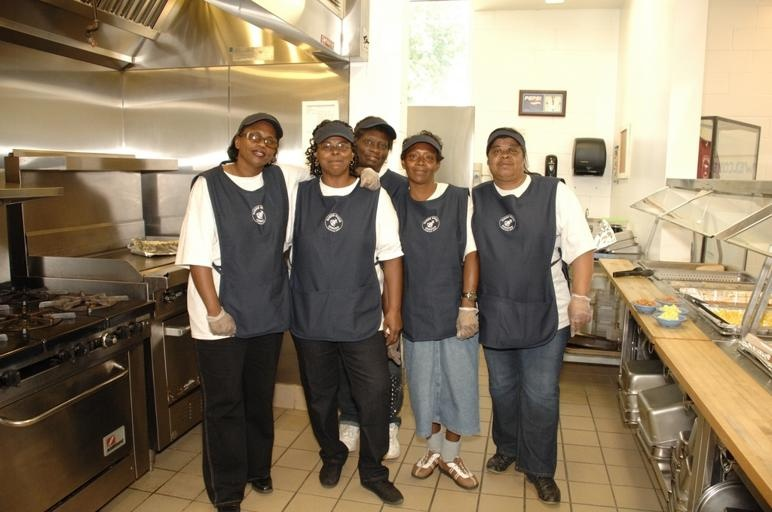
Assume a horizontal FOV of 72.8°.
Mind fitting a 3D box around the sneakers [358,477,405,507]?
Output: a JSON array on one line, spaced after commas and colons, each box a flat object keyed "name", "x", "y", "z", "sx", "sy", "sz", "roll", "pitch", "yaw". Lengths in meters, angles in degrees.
[{"name": "sneakers", "x": -0.028, "y": 1.366, "z": 3.109, "sx": 0.279, "sy": 0.106, "sz": 0.102, "roll": 8, "pitch": 11, "yaw": 35}]

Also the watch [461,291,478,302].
[{"name": "watch", "x": 0.457, "y": 0.223, "z": 2.966, "sx": 0.061, "sy": 0.057, "sz": 0.057, "roll": -2, "pitch": 22, "yaw": 13}]

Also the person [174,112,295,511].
[{"name": "person", "x": -0.795, "y": 0.331, "z": 2.937, "sx": 0.642, "sy": 2.191, "sz": 0.422, "roll": -10, "pitch": 18, "yaw": -34}]

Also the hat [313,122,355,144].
[{"name": "hat", "x": -0.289, "y": -0.678, "z": 2.852, "sx": 0.218, "sy": 0.121, "sz": 0.138, "roll": -2, "pitch": 15, "yaw": -7}]

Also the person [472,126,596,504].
[{"name": "person", "x": 0.796, "y": 0.349, "z": 3.018, "sx": 0.708, "sy": 2.114, "sz": 0.418, "roll": 6, "pitch": 16, "yaw": 20}]

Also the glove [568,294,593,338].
[{"name": "glove", "x": 1.083, "y": 0.324, "z": 2.928, "sx": 0.121, "sy": 0.249, "sz": 0.141, "roll": 5, "pitch": 16, "yaw": 19}]

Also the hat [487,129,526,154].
[{"name": "hat", "x": 0.668, "y": -0.619, "z": 2.915, "sx": 0.147, "sy": 0.157, "sz": 0.101, "roll": -3, "pitch": 6, "yaw": 11}]

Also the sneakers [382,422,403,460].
[{"name": "sneakers", "x": 0.041, "y": 1.218, "z": 3.432, "sx": 0.112, "sy": 0.122, "sz": 0.291, "roll": 0, "pitch": 43, "yaw": 0}]

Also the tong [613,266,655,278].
[{"name": "tong", "x": 1.880, "y": 0.127, "z": 4.029, "sx": 0.374, "sy": 0.118, "sz": 0.096, "roll": -2, "pitch": 1, "yaw": 15}]

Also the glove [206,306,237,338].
[{"name": "glove", "x": -0.879, "y": 0.354, "z": 2.828, "sx": 0.165, "sy": 0.154, "sz": 0.112, "roll": -8, "pitch": 9, "yaw": -15}]

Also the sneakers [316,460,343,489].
[{"name": "sneakers", "x": -0.343, "y": 1.309, "z": 3.187, "sx": 0.095, "sy": 0.071, "sz": 0.186, "roll": 2, "pitch": 23, "yaw": 4}]

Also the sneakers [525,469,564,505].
[{"name": "sneakers", "x": 0.934, "y": 1.363, "z": 3.111, "sx": 0.107, "sy": 0.102, "sz": 0.266, "roll": -4, "pitch": -1, "yaw": -19}]

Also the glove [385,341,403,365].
[{"name": "glove", "x": 0.054, "y": 0.608, "z": 3.286, "sx": 0.146, "sy": 0.136, "sz": 0.050, "roll": -2, "pitch": 13, "yaw": -18}]

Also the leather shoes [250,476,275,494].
[{"name": "leather shoes", "x": -0.734, "y": 1.365, "z": 3.136, "sx": 0.063, "sy": 0.056, "sz": 0.150, "roll": 2, "pitch": -5, "yaw": -32}]

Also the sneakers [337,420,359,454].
[{"name": "sneakers", "x": -0.246, "y": 1.182, "z": 3.429, "sx": 0.141, "sy": 0.208, "sz": 0.222, "roll": 1, "pitch": -11, "yaw": -1}]

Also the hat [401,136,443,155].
[{"name": "hat", "x": 0.201, "y": -0.629, "z": 2.918, "sx": 0.218, "sy": 0.111, "sz": 0.128, "roll": 1, "pitch": 14, "yaw": 1}]

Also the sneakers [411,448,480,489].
[{"name": "sneakers", "x": 0.363, "y": 1.303, "z": 3.197, "sx": 0.336, "sy": 0.135, "sz": 0.215, "roll": 11, "pitch": 11, "yaw": 41}]

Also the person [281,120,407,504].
[{"name": "person", "x": -0.218, "y": 0.340, "z": 2.982, "sx": 0.678, "sy": 2.152, "sz": 0.450, "roll": 2, "pitch": 15, "yaw": 5}]

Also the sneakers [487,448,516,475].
[{"name": "sneakers", "x": 0.720, "y": 1.312, "z": 3.315, "sx": 0.084, "sy": 0.093, "sz": 0.248, "roll": 3, "pitch": -8, "yaw": 39}]
